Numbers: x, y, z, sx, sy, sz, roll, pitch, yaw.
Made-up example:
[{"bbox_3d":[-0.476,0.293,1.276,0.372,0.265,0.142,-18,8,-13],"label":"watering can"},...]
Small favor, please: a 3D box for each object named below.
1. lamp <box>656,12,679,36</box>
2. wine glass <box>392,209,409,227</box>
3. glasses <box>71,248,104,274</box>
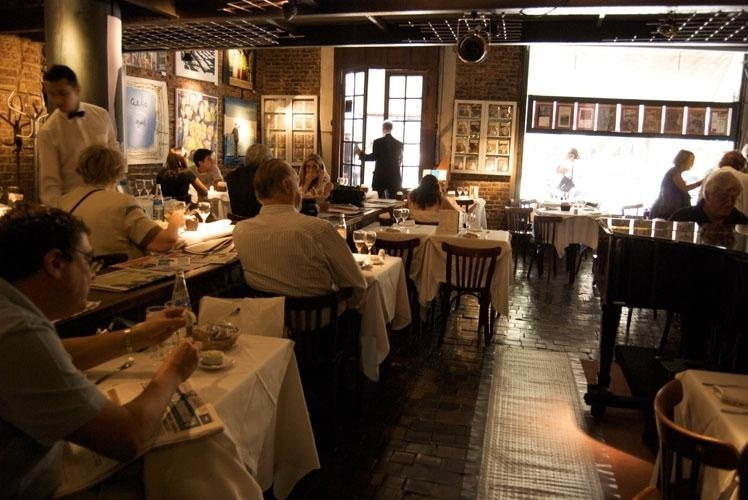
[{"bbox_3d":[3.123,-2.394,5.758,0.212,0.313,0.093,11,-9,23],"label":"lamp"},{"bbox_3d":[0.347,-0.426,6.855,0.180,0.332,0.204,0,-1,1],"label":"wine glass"},{"bbox_3d":[-1.392,0.055,2.642,0.133,0.042,0.135,16,-3,7],"label":"glasses"}]
